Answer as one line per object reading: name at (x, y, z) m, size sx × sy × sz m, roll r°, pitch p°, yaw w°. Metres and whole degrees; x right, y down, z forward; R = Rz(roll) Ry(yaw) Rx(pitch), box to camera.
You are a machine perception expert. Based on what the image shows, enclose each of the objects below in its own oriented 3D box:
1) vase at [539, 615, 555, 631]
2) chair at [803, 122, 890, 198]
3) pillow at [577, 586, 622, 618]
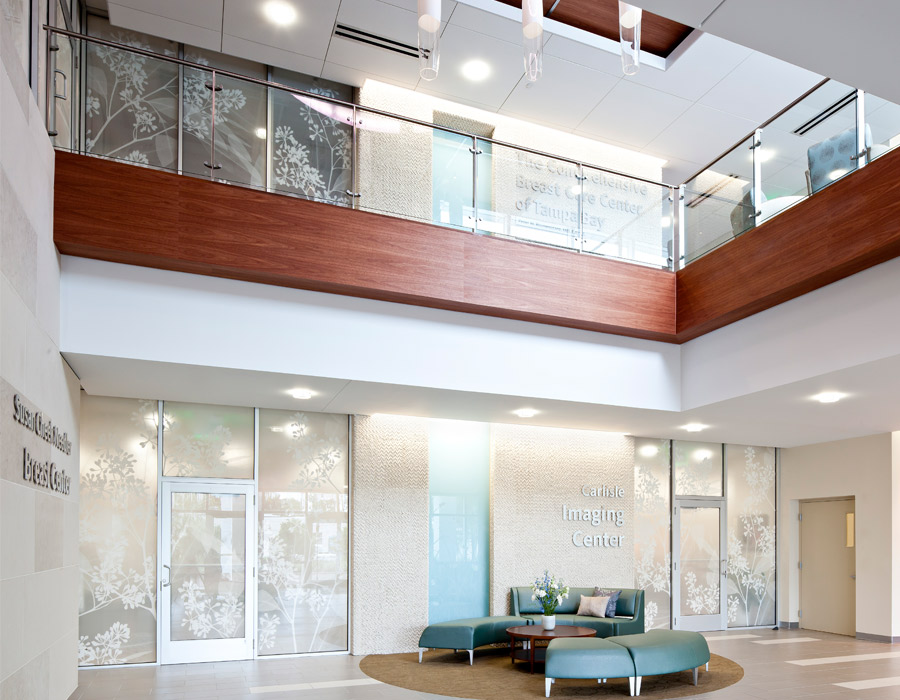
vase at (1.379, 3.918, 11.216) m, size 0.234 × 0.225 × 0.226 m, roll -5°, pitch -9°, yaw 34°
chair at (4.278, -2.032, 8.393) m, size 0.548 × 0.724 × 0.506 m, roll -3°, pitch -5°, yaw -36°
pillow at (2.306, 4.006, 12.277) m, size 0.414 × 0.166 × 0.431 m, roll -10°, pitch 22°, yaw 19°
